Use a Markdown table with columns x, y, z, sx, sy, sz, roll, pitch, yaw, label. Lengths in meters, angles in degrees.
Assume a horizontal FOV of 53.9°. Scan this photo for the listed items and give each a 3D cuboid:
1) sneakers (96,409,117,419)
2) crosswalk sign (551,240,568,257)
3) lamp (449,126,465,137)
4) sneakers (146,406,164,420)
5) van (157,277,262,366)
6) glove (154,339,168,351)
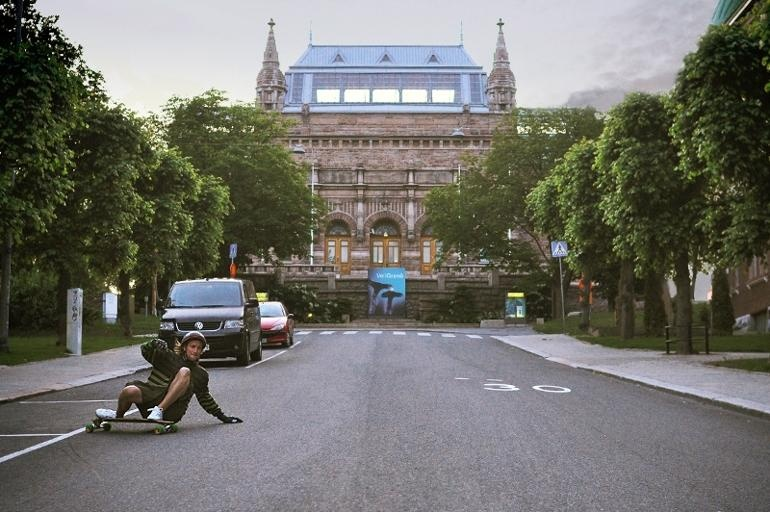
| x | y | z | sx | sy | sz | roll | pitch | yaw | label |
| --- | --- | --- | --- | --- | --- | --- | --- | --- | --- |
| -4.651 | 2.612 | 12.617 | 0.304 | 0.124 | 0.178 | 20 | 3 | -13 | sneakers |
| 8.202 | -0.405 | 35.549 | 0.909 | 0.947 | 0.098 | 0 | -4 | 10 | crosswalk sign |
| 6.750 | -11.568 | 70.069 | 1.193 | 0.536 | 1.226 | -1 | 3 | 17 | lamp |
| -3.787 | 2.572 | 12.457 | 0.236 | 0.228 | 0.156 | 0 | -5 | -15 | sneakers |
| -4.874 | 1.965 | 22.540 | 2.026 | 1.821 | 3.565 | -1 | -14 | -1 | van |
| -3.803 | 1.460 | 12.723 | 0.189 | 0.251 | 0.090 | 17 | -49 | -39 | glove |
